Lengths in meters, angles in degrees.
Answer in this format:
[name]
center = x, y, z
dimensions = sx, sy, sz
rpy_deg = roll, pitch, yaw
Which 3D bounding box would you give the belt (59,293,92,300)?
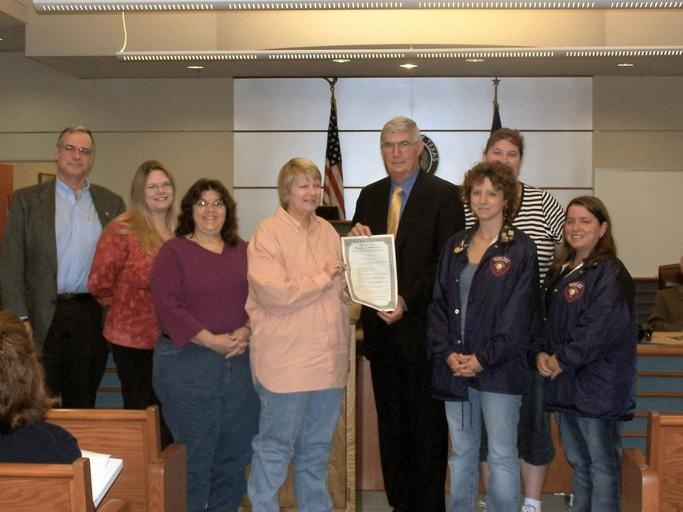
[belt]
center = -1.694, 0.263, 4.028
dimensions = 0.207, 0.063, 0.036
rpy_deg = 0, 1, -24

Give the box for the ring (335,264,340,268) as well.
[ring]
center = -0.017, 0.051, 3.409
dimensions = 0.019, 0.019, 0.013
rpy_deg = -1, -11, -7

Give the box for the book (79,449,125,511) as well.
[book]
center = -0.962, 0.881, 2.577
dimensions = 0.230, 0.221, 0.055
rpy_deg = -16, -41, 18
